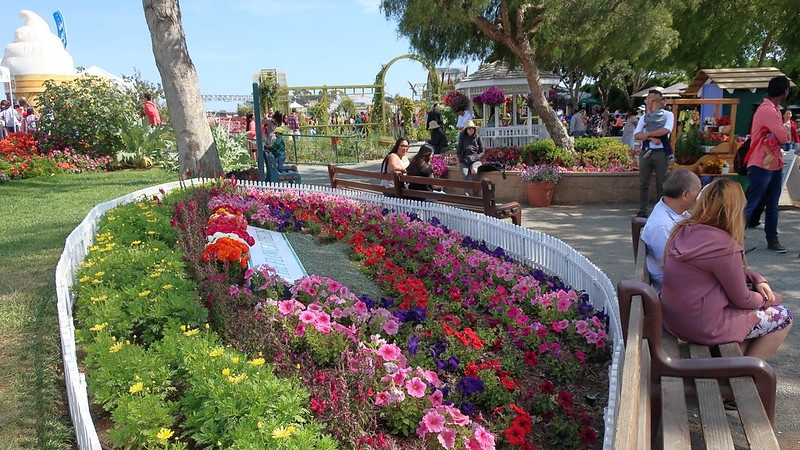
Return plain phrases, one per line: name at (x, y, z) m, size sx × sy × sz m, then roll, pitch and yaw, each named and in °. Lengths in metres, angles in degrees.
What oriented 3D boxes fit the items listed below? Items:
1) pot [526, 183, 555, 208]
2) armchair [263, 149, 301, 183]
pot at (3.531, -0.794, 14.665) m, size 0.623 × 0.501 × 0.638 m, roll 1°, pitch 5°, yaw 0°
armchair at (-3.126, -1.538, 15.143) m, size 0.986 × 1.096 × 0.752 m, roll -6°, pitch 17°, yaw -15°
